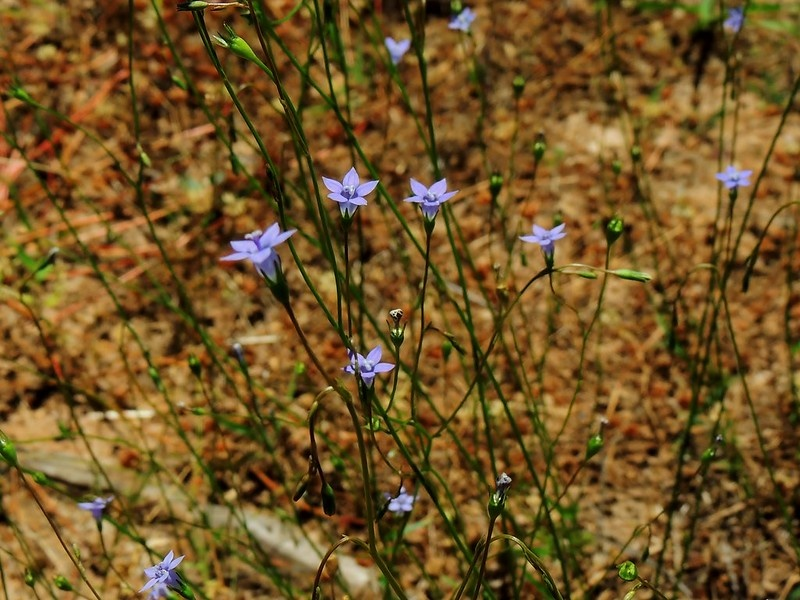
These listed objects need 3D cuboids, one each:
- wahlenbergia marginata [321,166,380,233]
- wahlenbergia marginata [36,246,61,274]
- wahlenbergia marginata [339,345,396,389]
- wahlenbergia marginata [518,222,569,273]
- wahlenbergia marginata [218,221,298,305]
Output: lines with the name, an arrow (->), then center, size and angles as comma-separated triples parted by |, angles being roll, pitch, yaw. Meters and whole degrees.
wahlenbergia marginata -> -0.248, -0.514, 4.377 | 0.288, 0.237, 0.347 | 15, 43, 9
wahlenbergia marginata -> -2.217, -0.255, 5.458 | 0.066, 0.274, 0.107 | 48, 39, 7
wahlenbergia marginata -> -0.161, 0.321, 4.171 | 0.180, 0.132, 0.200 | -10, 18, 2
wahlenbergia marginata -> 0.889, -0.318, 5.451 | 0.254, 0.245, 0.259 | -24, 39, -11
wahlenbergia marginata -> -0.621, -0.213, 4.052 | 0.305, 0.370, 0.326 | -8, 46, 3
